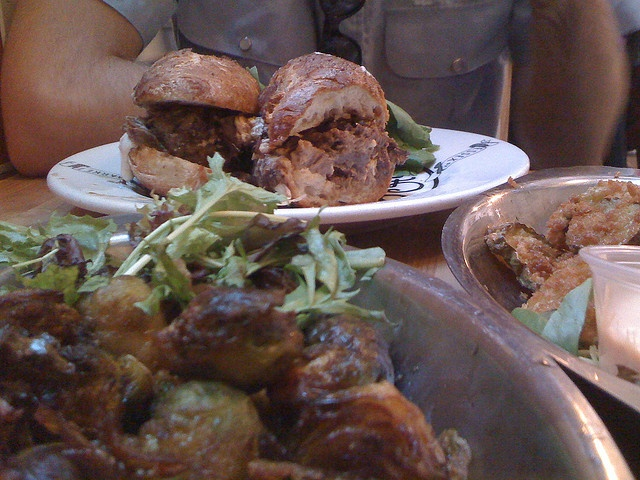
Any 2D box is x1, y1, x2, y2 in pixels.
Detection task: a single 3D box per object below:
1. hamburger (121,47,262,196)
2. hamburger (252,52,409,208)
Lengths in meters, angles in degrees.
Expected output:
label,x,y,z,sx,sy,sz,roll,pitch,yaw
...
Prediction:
label,x,y,z,sx,sy,sz,roll,pitch,yaw
hamburger,-0.267,-0.249,1.215,0.337,0.263,0.325,-7,18,-24
hamburger,-0.006,-0.237,1.188,0.293,0.232,0.350,-18,35,-38
